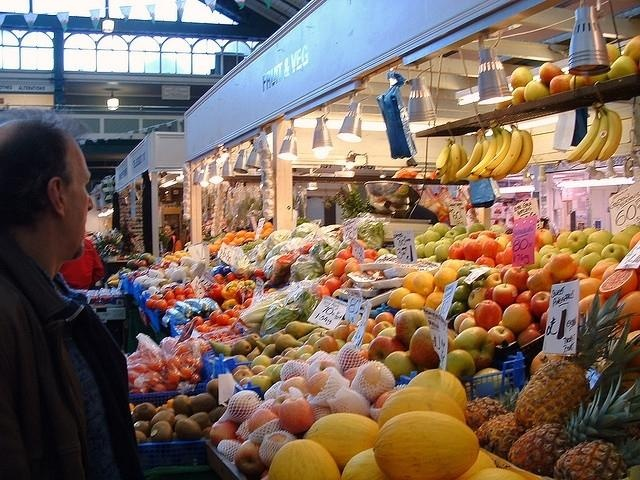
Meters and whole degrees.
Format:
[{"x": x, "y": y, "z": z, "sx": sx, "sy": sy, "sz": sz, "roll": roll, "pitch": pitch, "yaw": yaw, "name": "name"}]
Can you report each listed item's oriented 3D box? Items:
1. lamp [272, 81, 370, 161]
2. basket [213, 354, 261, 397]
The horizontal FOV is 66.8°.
[{"x": -0.020, "y": -1.173, "z": 4.923, "sx": 0.493, "sy": 0.646, "sz": 1.144, "roll": -8, "pitch": 12, "yaw": -29, "name": "lamp"}, {"x": -0.513, "y": 0.770, "z": 2.832, "sx": 0.206, "sy": 0.138, "sz": 0.208, "roll": 5, "pitch": -6, "yaw": -37, "name": "basket"}]
